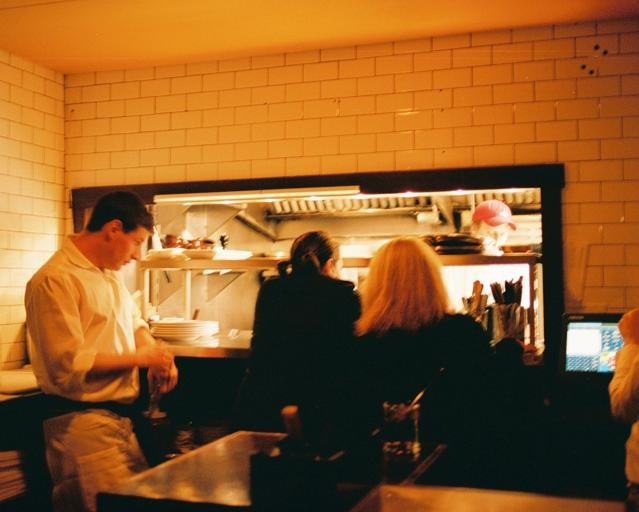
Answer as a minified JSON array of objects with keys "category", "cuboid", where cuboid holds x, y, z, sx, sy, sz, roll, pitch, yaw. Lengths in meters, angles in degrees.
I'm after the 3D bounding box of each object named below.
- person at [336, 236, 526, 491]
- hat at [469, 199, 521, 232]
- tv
[{"category":"person","cuboid":[0.492,0.476,2.697,0.753,1.104,0.825,1,1,12]},{"category":"hat","cuboid":[1.056,-0.265,3.969,0.181,0.106,0.228,2,-1,-11]},{"category":"tv","cuboid":[1.404,0.464,3.349,0.410,0.315,0.083,6,-2,-17]}]
